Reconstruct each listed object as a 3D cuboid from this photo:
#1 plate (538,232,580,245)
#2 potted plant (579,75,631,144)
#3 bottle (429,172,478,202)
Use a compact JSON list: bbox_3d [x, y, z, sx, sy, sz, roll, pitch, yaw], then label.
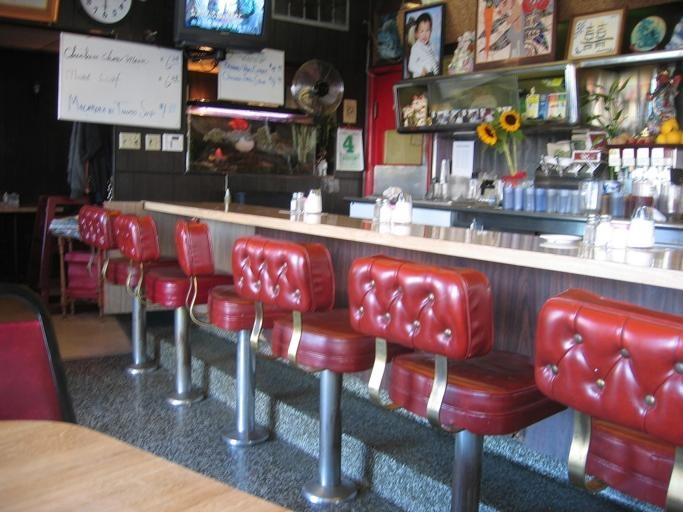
[{"bbox_3d":[0.912,-0.069,2.234,0.172,0.032,0.182,3,10,7],"label":"plate"},{"bbox_3d":[2.266,-1.257,4.862,0.522,0.618,0.427,-1,10,3],"label":"potted plant"},{"bbox_3d":[1.118,-0.678,5.614,0.298,0.174,0.437,0,10,0],"label":"bottle"}]
